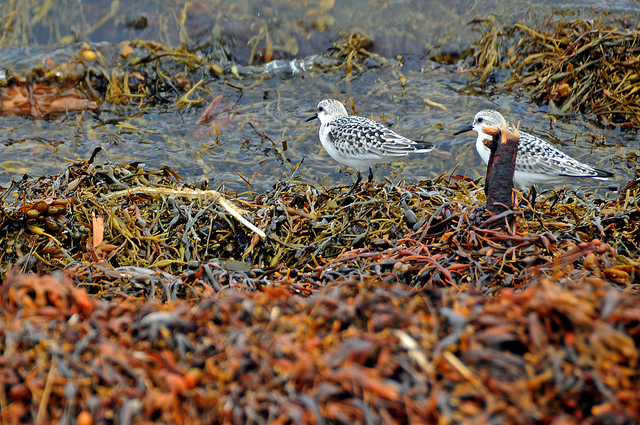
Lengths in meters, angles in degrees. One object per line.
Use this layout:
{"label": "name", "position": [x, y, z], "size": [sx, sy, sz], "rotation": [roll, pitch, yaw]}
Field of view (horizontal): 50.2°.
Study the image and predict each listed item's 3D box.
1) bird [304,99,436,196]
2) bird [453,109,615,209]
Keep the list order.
{"label": "bird", "position": [0.530, -0.735, 7.362], "size": [1.479, 0.862, 0.567], "rotation": [7, 16, 26]}
{"label": "bird", "position": [2.318, -0.643, 7.340], "size": [1.354, 0.697, 1.315], "rotation": [-6, 48, -7]}
